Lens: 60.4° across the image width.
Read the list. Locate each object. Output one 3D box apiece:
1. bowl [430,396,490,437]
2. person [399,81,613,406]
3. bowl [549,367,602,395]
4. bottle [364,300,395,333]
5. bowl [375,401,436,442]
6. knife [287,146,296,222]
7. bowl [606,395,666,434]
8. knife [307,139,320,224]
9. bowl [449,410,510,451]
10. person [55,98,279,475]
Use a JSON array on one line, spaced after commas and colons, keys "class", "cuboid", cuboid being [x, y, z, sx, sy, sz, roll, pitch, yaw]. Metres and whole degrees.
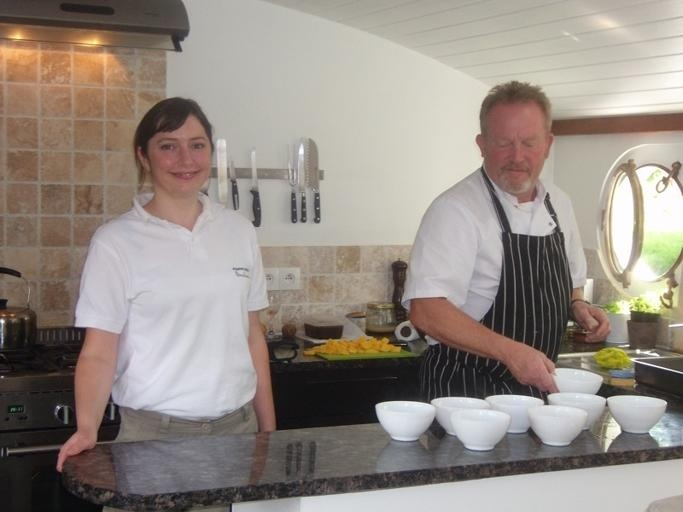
[{"class": "bowl", "cuboid": [0.305, 0.405, 1.537, 0.107, 0.055, 0.108, -1, -1, 0]}, {"class": "person", "cuboid": [0.633, -0.044, 2.080, 0.570, 1.122, 0.719, 8, 11, 41]}, {"class": "bowl", "cuboid": [0.671, 0.357, 1.704, 0.106, 0.060, 0.102, 0, -4, 0]}, {"class": "bottle", "cuboid": [0.226, 0.359, 3.508, 0.178, 0.177, 0.166, 1, 0, -3]}, {"class": "bowl", "cuboid": [0.164, 0.402, 1.473, 0.115, 0.058, 0.110, 2, -10, 0]}, {"class": "knife", "cuboid": [-0.285, -0.420, 3.399, 0.067, 0.384, 0.035, -1, 3, 5]}, {"class": "bowl", "cuboid": [0.777, 0.410, 1.544, 0.130, 0.070, 0.125, 0, -7, 0]}, {"class": "knife", "cuboid": [-0.145, -0.450, 3.401, 0.082, 0.445, 0.041, 0, -1, -9]}, {"class": "bowl", "cuboid": [0.336, 0.407, 1.418, 0.108, 0.055, 0.103, 1, -8, 0]}, {"class": "person", "cuboid": [-0.567, 0.076, 1.779, 0.393, 1.128, 0.743, 7, 10, 37]}]
